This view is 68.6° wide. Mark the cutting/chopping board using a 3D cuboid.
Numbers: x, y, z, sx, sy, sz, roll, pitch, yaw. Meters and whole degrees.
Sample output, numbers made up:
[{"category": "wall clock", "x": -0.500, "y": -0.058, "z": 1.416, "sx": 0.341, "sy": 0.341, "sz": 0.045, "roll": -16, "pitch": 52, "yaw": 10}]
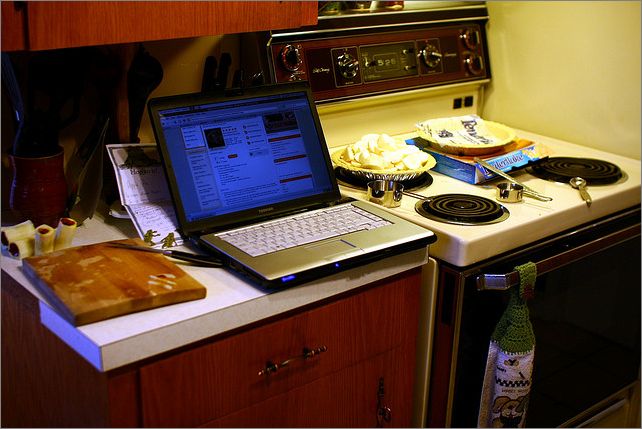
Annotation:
[{"category": "cutting/chopping board", "x": -0.448, "y": 0.137, "z": 1.001, "sx": 0.245, "sy": 0.100, "sz": 0.332, "roll": -26, "pitch": 29, "yaw": -38}]

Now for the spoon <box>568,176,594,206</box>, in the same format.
[{"category": "spoon", "x": 0.796, "y": -0.075, "z": 1.441, "sx": 0.033, "sy": 0.018, "sz": 0.131, "roll": -2, "pitch": 31, "yaw": 8}]

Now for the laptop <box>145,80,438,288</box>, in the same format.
[{"category": "laptop", "x": -0.118, "y": -0.072, "z": 1.171, "sx": 0.586, "sy": 0.366, "sz": 0.592, "roll": -16, "pitch": 32, "yaw": -35}]
